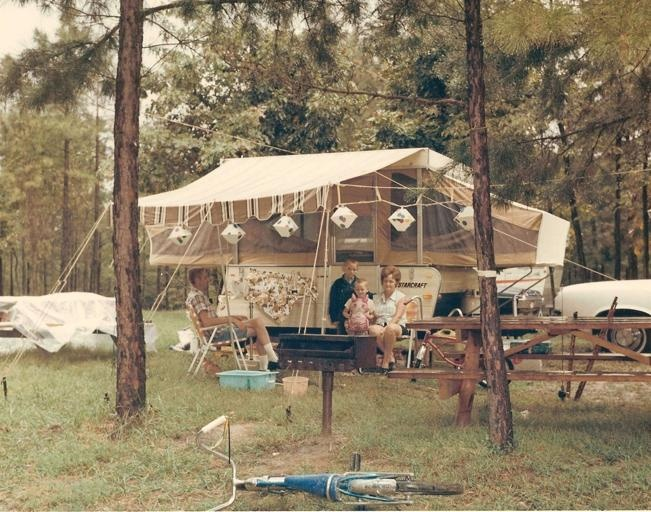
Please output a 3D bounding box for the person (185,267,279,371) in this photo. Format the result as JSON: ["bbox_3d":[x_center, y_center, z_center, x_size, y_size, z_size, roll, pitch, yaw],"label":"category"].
[{"bbox_3d":[-1.538,1.010,22.879,0.996,2.065,0.787,0,-1,4],"label":"person"}]

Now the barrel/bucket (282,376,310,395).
[{"bbox_3d":[-0.437,1.939,21.803,0.376,0.266,0.359,3,-2,0],"label":"barrel/bucket"}]

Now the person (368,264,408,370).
[{"bbox_3d":[0.953,0.885,22.062,0.531,1.596,0.497,3,4,28],"label":"person"}]

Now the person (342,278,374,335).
[{"bbox_3d":[0.488,0.766,21.826,0.369,0.870,0.348,2,3,26],"label":"person"}]

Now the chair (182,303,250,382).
[{"bbox_3d":[-1.706,1.386,23.192,1.019,1.298,0.908,0,-2,-16],"label":"chair"}]

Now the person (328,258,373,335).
[{"bbox_3d":[0.300,0.626,23.191,0.474,1.138,0.466,2,4,-4],"label":"person"}]

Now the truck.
[{"bbox_3d":[0.643,0.855,24.249,3.989,1.373,3.526,2,1,29],"label":"truck"}]

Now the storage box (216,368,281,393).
[{"bbox_3d":[-1.180,1.864,22.001,0.889,0.278,0.645,3,-2,-5],"label":"storage box"}]
